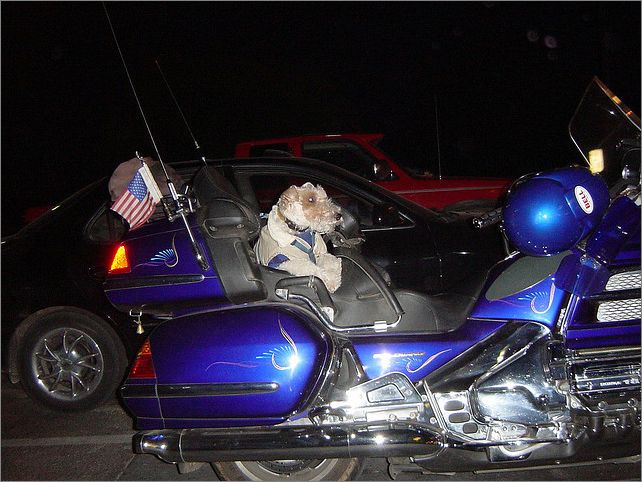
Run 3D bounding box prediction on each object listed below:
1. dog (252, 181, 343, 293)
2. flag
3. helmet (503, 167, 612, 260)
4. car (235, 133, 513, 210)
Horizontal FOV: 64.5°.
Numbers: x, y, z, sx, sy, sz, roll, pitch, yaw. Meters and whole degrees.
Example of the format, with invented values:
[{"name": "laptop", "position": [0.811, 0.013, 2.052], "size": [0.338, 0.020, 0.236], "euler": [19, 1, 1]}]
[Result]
[{"name": "dog", "position": [-0.113, -0.084, 3.371], "size": [0.602, 0.703, 0.673], "euler": [6, 12, 14]}, {"name": "flag", "position": [-1.100, -0.269, 3.129], "size": [0.306, 0.499, 0.069], "euler": [25, 27, 1]}, {"name": "helmet", "position": [1.282, -0.171, 2.914], "size": [0.541, 0.422, 0.437], "euler": [-25, 0, 18]}, {"name": "car", "position": [0.798, -0.996, 7.296], "size": [3.050, 1.556, 1.738], "euler": [-3, 7, 8]}]
